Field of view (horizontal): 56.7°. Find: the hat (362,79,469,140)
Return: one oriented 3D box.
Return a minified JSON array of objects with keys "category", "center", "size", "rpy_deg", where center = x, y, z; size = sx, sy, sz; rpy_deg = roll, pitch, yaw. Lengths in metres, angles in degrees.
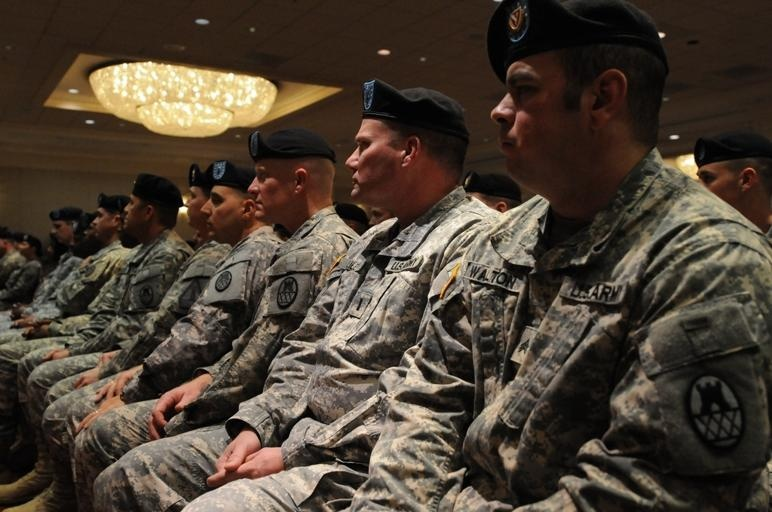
[{"category":"hat","center":[0.136,-0.659,3.245],"size":[0.382,0.151,0.280],"rpy_deg":[12,5,-13]}]

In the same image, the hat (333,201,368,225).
[{"category":"hat","center":[-0.335,-0.439,7.083],"size":[0.203,0.106,0.285],"rpy_deg":[15,-6,40]}]

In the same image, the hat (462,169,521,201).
[{"category":"hat","center":[0.862,-0.553,5.648],"size":[0.441,0.181,0.316],"rpy_deg":[15,-6,-18]}]
